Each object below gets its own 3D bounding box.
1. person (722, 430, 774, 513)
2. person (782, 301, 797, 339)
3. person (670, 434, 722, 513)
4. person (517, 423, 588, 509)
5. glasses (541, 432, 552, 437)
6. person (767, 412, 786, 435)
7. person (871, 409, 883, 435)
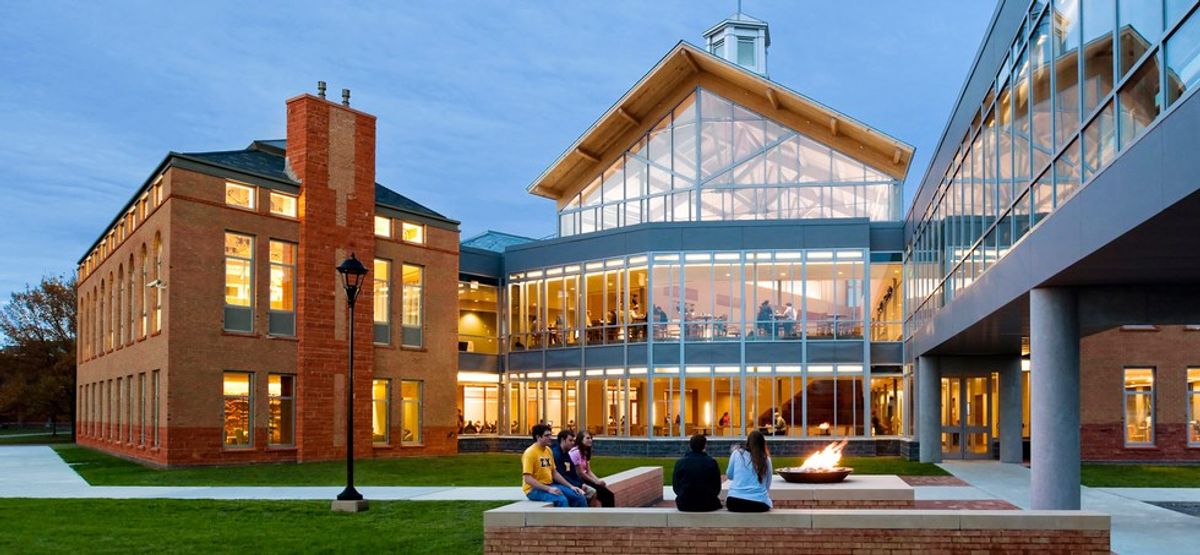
[{"bbox_3d":[4.553,5.959,29.458,1.332,2.410,0.602,-1,-15,5],"label":"person"},{"bbox_3d":[10.275,2.349,51.760,0.698,1.735,0.458,0,-15,0],"label":"person"},{"bbox_3d":[2.946,5.939,29.168,1.347,2.254,0.513,-1,-15,3],"label":"person"},{"bbox_3d":[-1.563,6.089,31.208,1.771,2.563,0.891,1,-15,-3],"label":"person"},{"bbox_3d":[-1.768,5.145,31.500,0.264,0.215,0.072,1,-18,-30],"label":"glasses"},{"bbox_3d":[9.216,7.859,51.090,1.296,1.171,0.993,1,-8,14],"label":"person"},{"bbox_3d":[15.042,7.880,51.811,0.418,1.225,0.605,-11,-19,35],"label":"person"}]
